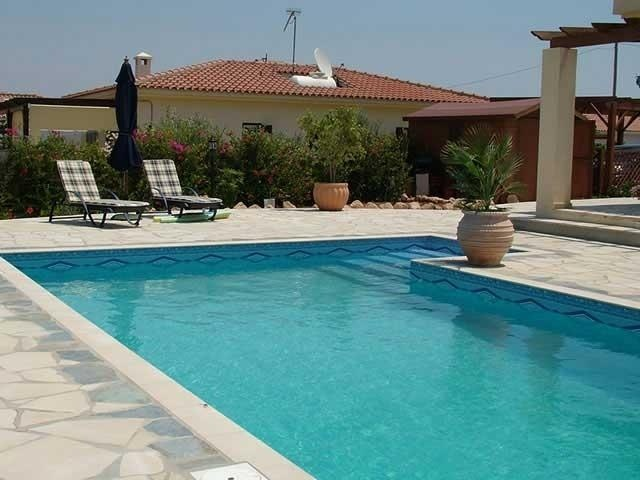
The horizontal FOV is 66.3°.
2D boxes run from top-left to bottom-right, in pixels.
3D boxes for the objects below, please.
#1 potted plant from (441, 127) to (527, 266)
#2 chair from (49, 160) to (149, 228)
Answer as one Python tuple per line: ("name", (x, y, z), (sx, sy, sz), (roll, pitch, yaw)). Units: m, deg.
("potted plant", (2.501, -0.657, 7.713), (1.049, 2.134, 0.626), (5, 12, 18))
("chair", (-5.617, -1.189, 12.156), (1.657, 1.507, 3.734), (-7, 12, -38))
